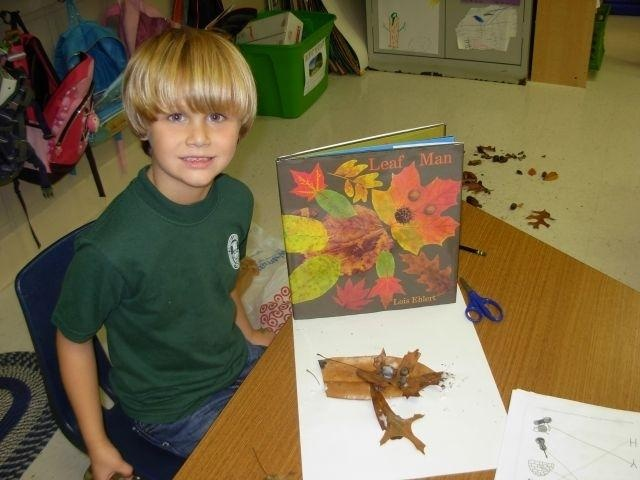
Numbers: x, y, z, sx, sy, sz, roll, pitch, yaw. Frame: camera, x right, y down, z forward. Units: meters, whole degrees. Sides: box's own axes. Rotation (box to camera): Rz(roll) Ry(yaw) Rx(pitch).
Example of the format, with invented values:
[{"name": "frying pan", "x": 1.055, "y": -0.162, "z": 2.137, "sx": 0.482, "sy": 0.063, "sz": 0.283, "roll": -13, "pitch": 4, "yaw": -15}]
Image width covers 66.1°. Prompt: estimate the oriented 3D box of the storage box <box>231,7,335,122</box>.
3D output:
[{"name": "storage box", "x": -0.253, "y": -1.243, "z": 3.512, "sx": 0.595, "sy": 0.506, "sz": 0.790, "roll": 19, "pitch": 41, "yaw": 30}]
